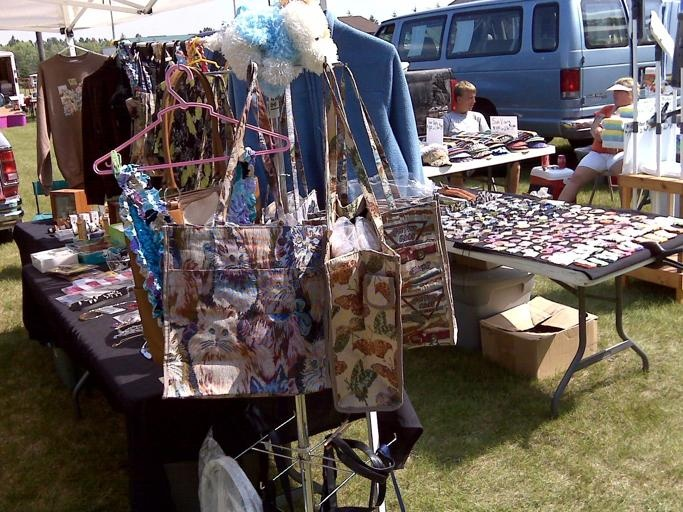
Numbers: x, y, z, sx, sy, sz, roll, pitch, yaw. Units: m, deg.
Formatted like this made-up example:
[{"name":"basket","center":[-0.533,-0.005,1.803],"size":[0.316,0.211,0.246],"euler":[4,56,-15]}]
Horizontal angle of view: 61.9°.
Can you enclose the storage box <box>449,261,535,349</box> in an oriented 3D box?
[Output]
[{"name":"storage box","center":[1.006,0.316,3.781],"size":[0.478,0.451,0.580],"euler":[-8,10,-39]}]

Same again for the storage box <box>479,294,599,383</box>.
[{"name":"storage box","center":[1.298,0.449,3.599],"size":[0.410,0.246,0.393],"euler":[-16,29,-28]}]

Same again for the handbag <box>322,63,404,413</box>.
[{"name":"handbag","center":[0.068,-0.030,1.734],"size":[0.220,1.085,0.434],"euler":[-3,15,5]}]

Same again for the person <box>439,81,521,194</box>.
[{"name":"person","center":[1.384,-1.265,6.138],"size":[0.523,1.138,1.664],"euler":[-9,11,-28]}]

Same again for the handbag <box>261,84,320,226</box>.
[{"name":"handbag","center":[-0.216,-0.338,2.096],"size":[0.141,0.376,0.400],"euler":[-17,19,-15]}]

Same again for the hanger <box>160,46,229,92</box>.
[{"name":"hanger","center":[-0.531,-0.710,2.266],"size":[0.226,0.154,0.251],"euler":[27,17,-2]}]

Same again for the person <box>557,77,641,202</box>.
[{"name":"person","center":[2.583,-1.171,5.694],"size":[0.572,1.131,1.069],"euler":[6,18,34]}]

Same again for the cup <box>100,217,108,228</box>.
[{"name":"cup","center":[-1.484,-0.216,3.547],"size":[0.045,0.060,0.035],"euler":[-34,-29,29]}]
